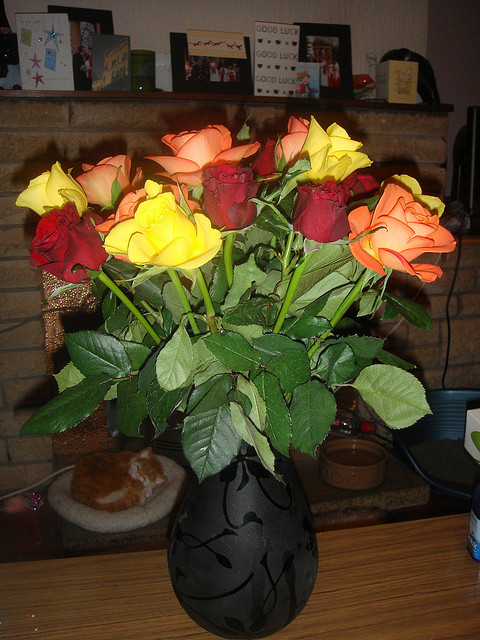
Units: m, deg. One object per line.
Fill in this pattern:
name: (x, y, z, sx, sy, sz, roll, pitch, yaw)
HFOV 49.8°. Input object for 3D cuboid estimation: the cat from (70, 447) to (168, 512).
cat: (-0.267, 0.359, 1.154, 0.168, 0.040, 0.127, 15, 21, 17)

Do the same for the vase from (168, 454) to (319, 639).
vase: (0.004, 0.202, 0.445, 0.131, 0.185, 0.068, -4, 15, -8)

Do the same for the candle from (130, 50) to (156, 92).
candle: (-0.229, -0.626, 1.299, 0.089, 0.084, 0.081, 1, 24, -6)

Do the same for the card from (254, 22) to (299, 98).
card: (0.095, -0.676, 1.342, 0.128, 0.175, 0.025, -6, 16, -16)

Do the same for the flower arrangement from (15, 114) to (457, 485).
flower arrangement: (-0.013, -0.019, 0.477, 0.343, 0.300, 0.278, -2, -25, 6)
